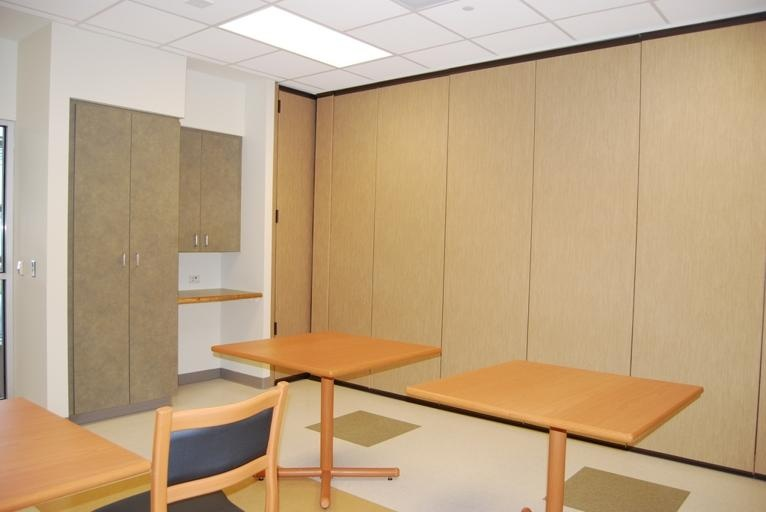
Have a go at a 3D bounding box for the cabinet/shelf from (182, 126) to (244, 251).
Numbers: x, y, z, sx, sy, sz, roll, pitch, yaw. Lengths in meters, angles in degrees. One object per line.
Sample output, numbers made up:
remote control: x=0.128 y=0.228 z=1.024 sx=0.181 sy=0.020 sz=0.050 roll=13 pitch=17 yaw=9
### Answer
cabinet/shelf: x=-2.111 y=-0.800 z=7.033 sx=0.879 sy=1.464 sz=0.246 roll=-7 pitch=13 yaw=-42

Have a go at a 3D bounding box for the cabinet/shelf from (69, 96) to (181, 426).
cabinet/shelf: x=-2.674 y=0.042 z=6.012 sx=1.195 sy=3.211 sz=0.629 roll=-4 pitch=11 yaw=-28
